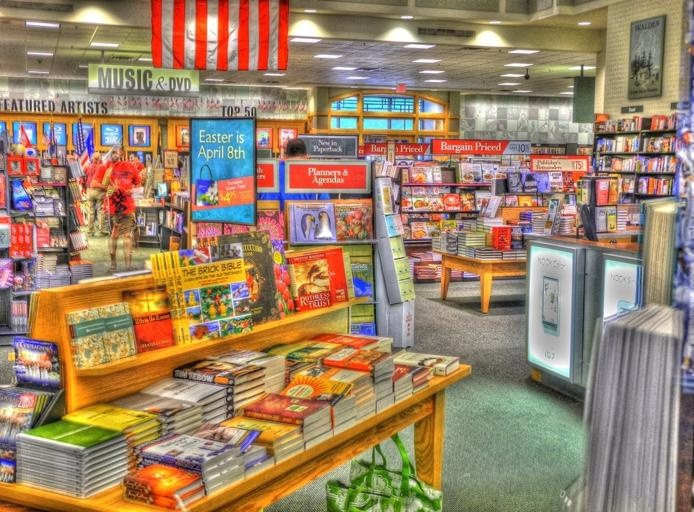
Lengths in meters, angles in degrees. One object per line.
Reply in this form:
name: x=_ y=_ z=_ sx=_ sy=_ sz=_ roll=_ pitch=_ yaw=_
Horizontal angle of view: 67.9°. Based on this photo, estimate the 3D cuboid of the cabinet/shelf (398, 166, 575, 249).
cabinet/shelf: x=2.595 y=-0.733 z=9.071 sx=2.231 sy=0.917 sz=2.197 roll=-2 pitch=6 yaw=-25

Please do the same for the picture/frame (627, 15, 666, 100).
picture/frame: x=5.802 y=-3.817 z=9.967 sx=0.244 sy=1.481 sz=0.781 roll=-3 pitch=8 yaw=-19

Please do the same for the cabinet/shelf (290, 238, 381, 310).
cabinet/shelf: x=-0.083 y=0.101 z=3.778 sx=0.677 sy=0.610 sz=0.361 roll=-12 pitch=1 yaw=-41
